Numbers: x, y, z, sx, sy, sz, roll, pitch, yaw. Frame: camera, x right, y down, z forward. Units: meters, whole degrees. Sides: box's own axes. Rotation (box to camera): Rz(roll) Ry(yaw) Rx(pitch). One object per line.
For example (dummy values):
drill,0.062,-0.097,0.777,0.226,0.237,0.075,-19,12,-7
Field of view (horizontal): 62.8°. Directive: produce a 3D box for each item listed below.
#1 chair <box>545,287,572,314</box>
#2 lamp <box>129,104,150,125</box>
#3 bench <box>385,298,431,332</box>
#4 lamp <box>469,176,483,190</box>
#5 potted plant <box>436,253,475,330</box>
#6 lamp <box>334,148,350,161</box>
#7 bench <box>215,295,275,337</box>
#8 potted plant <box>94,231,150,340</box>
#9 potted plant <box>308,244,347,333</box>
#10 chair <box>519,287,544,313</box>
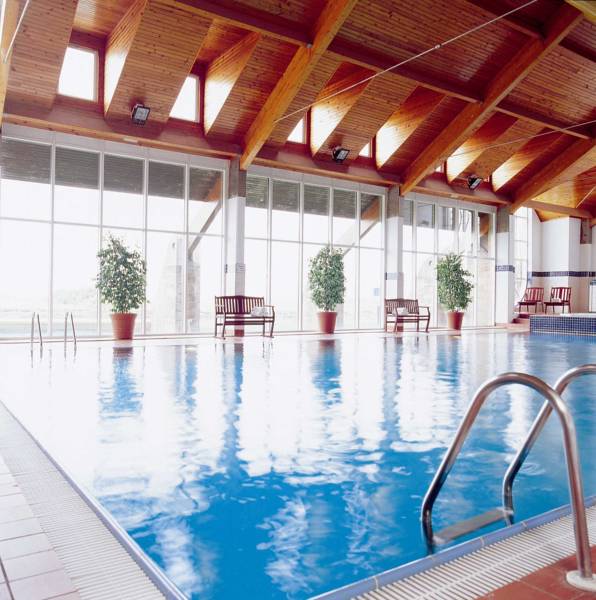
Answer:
chair,9.793,0.043,18.236,0.989,1.401,1.083,-1,-4,41
lamp,-3.254,-3.835,10.106,0.335,0.323,0.107,8,26,-7
bench,3.247,0.455,14.693,1.268,0.967,2.068,-1,-2,10
lamp,5.700,-3.789,15.928,0.322,0.421,0.124,1,25,-5
potted plant,4.786,-0.221,14.939,0.943,2.322,0.984,-2,-2,33
lamp,1.131,-3.824,12.918,0.370,0.231,0.439,0,-2,-14
bench,-1.314,0.400,11.565,1.062,0.714,0.394,1,-3,-27
potted plant,-3.500,-0.223,9.689,0.921,2.092,0.688,0,-2,-33
potted plant,0.734,-0.247,12.473,0.827,2.285,0.780,1,-2,-39
chair,8.621,0.031,18.122,0.838,0.991,1.507,-2,-2,24
